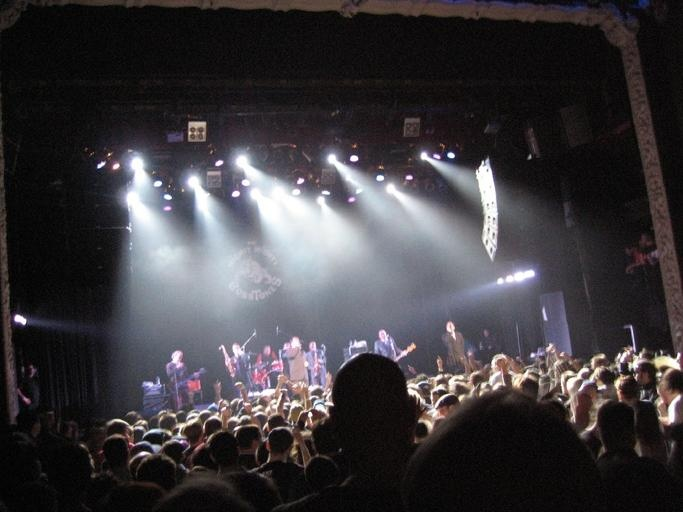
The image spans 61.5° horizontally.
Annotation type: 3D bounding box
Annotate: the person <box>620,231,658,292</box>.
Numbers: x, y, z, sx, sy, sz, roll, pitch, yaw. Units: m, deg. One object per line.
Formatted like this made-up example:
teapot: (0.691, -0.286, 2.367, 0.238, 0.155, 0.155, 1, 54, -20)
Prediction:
person: (4.992, 0.054, 9.601, 0.439, 0.941, 0.691, -2, -36, 23)

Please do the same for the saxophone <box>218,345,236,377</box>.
saxophone: (-3.018, 2.782, 15.509, 0.260, 1.159, 0.309, -9, -17, -37)
